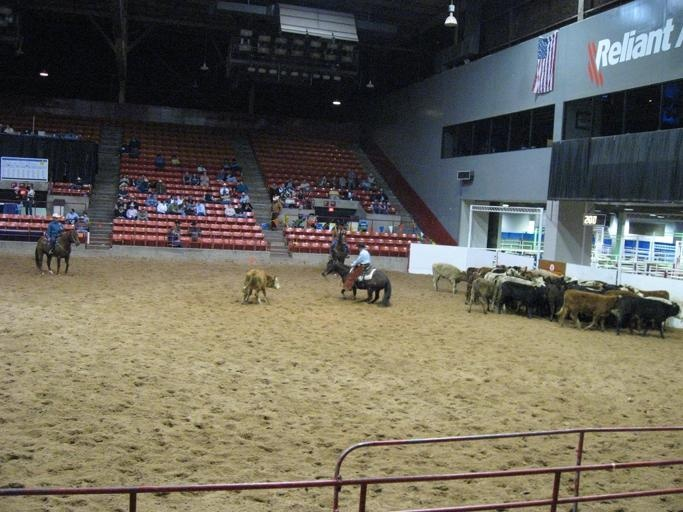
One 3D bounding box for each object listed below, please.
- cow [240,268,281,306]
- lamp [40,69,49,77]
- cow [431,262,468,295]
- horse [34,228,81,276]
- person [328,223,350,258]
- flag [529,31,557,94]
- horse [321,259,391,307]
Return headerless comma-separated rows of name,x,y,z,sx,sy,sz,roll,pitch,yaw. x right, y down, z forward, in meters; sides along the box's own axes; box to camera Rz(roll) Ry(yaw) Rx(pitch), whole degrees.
cow,-2.485,0.879,20.581,0.929,0.990,1.671,3,2,-8
lamp,-17.041,-10.489,39.208,0.400,0.273,0.389,-10,28,-32
cow,3.971,0.791,25.122,1.188,0.821,1.886,4,2,6
horse,-9.764,-0.146,23.380,1.840,1.314,0.564,-1,-6,23
person,-0.201,-0.500,27.279,0.522,1.863,1.065,-2,-4,5
flag,8.208,-7.704,27.484,0.269,2.103,1.144,3,2,-18
horse,0.515,0.838,21.615,2.350,1.271,0.627,11,10,25
